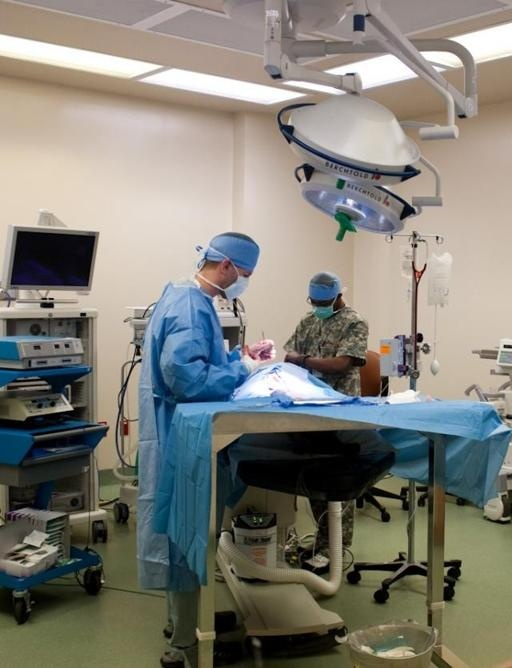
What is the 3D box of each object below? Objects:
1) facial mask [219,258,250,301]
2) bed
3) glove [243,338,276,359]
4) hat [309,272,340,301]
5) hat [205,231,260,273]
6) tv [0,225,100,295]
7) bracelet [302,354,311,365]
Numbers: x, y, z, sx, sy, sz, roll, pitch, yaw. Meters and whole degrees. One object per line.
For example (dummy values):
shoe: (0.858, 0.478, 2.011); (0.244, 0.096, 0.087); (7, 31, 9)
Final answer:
facial mask: (-0.066, -0.165, 2.062); (0.094, 0.096, 0.092); (-1, 6, 9)
bed: (0.247, 0.435, 1.614); (0.891, 0.533, 0.680); (2, -2, -25)
glove: (0.014, 0.046, 2.066); (0.079, 0.031, 0.072); (-5, -39, -8)
hat: (0.323, -0.221, 2.936); (0.119, 0.110, 0.152); (6, -8, 23)
hat: (-0.066, -0.267, 2.029); (0.168, 0.093, 0.117); (6, 10, -19)
tv: (-1.006, -0.360, 2.982); (0.052, 0.308, 0.496); (23, 13, 39)
bracelet: (0.229, 0.117, 2.869); (0.041, 0.023, 0.043); (0, -14, 0)
